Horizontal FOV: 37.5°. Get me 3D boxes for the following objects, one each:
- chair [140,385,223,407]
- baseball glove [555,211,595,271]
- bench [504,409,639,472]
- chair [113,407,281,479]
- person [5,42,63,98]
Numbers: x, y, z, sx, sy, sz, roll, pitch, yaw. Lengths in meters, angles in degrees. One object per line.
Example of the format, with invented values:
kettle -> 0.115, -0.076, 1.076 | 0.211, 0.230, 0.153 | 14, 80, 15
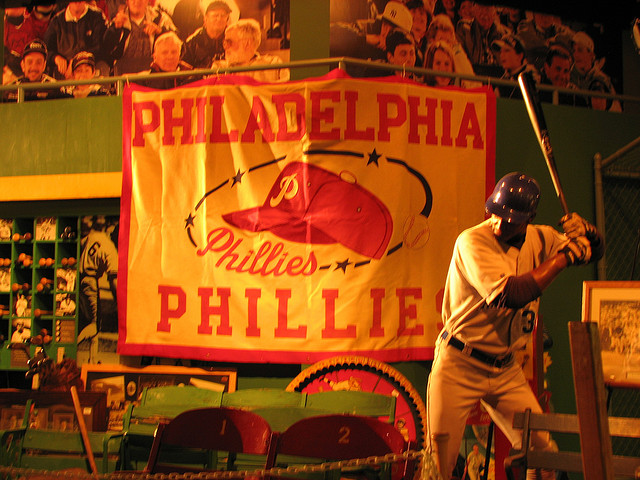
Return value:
chair -> -1.501, 1.694, 10.185 | 0.893, 0.223, 0.166 | 0, -6, 8
baseball glove -> 2.494, 0.026, 9.137 | 0.244, 0.644, 0.348 | 5, -6, -24
bench -> 2.274, 1.845, 8.670 | 1.055, 0.556, 0.602 | 0, -26, 19
chair -> -1.041, 1.944, 9.060 | 1.341, 0.649, 0.490 | -2, -7, 21
person -> -4.031, -2.413, 13.267 | 0.823, 0.866, 0.484 | 0, -5, -13
